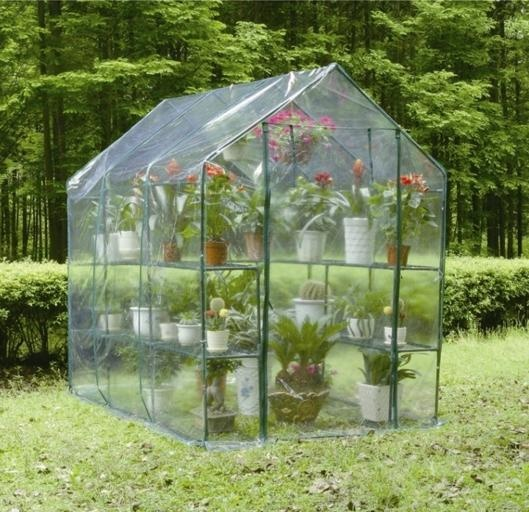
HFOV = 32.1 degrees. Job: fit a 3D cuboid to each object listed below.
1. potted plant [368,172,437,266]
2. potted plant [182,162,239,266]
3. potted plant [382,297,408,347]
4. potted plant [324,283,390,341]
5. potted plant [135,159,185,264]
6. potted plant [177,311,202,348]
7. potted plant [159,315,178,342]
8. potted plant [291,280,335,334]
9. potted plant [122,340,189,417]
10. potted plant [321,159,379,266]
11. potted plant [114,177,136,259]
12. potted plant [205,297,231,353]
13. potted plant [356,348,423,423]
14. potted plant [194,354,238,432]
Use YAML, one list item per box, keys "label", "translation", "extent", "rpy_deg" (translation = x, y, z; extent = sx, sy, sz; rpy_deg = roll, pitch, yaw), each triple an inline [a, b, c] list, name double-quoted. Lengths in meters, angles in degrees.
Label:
- label: "potted plant"
  translation: [1.437, -0.355, 9.972]
  extent: [0.860, 1.018, 0.720]
  rpy_deg: [8, -11, -34]
- label: "potted plant"
  translation: [-0.528, -0.441, 9.413]
  extent: [0.535, 1.013, 0.526]
  rpy_deg: [-6, 10, -21]
- label: "potted plant"
  translation: [1.407, 0.711, 9.810]
  extent: [0.314, 0.474, 0.155]
  rpy_deg: [-9, 12, -37]
- label: "potted plant"
  translation: [0.999, 0.602, 9.791]
  extent: [0.536, 0.483, 0.534]
  rpy_deg: [2, -3, -28]
- label: "potted plant"
  translation: [-1.072, -0.454, 9.777]
  extent: [0.285, 1.002, 0.682]
  rpy_deg: [-7, 11, -26]
- label: "potted plant"
  translation: [-0.787, 0.764, 9.629]
  extent: [0.278, 0.357, 0.298]
  rpy_deg: [0, -1, 10]
- label: "potted plant"
  translation: [-1.010, 0.790, 9.742]
  extent: [0.201, 0.172, 0.208]
  rpy_deg: [0, 1, -5]
- label: "potted plant"
  translation: [0.514, 0.520, 9.727]
  extent: [0.406, 0.533, 0.432]
  rpy_deg: [1, -1, 31]
- label: "potted plant"
  translation: [-1.164, 1.269, 9.944]
  extent: [0.746, 0.847, 0.687]
  rpy_deg: [2, 1, 40]
- label: "potted plant"
  translation: [0.919, -0.494, 9.855]
  extent: [0.671, 1.057, 0.581]
  rpy_deg: [3, 12, 12]
- label: "potted plant"
  translation: [-1.538, -0.381, 10.279]
  extent: [0.164, 0.842, 0.417]
  rpy_deg: [-8, 11, -33]
- label: "potted plant"
  translation: [-0.507, 0.719, 9.329]
  extent: [0.293, 0.456, 0.293]
  rpy_deg: [-8, -12, -26]
- label: "potted plant"
  translation: [1.231, 1.354, 10.023]
  extent: [0.746, 0.791, 0.633]
  rpy_deg: [2, -1, -27]
- label: "potted plant"
  translation: [-0.491, 1.421, 9.395]
  extent: [0.467, 0.752, 0.311]
  rpy_deg: [-3, 10, -6]
